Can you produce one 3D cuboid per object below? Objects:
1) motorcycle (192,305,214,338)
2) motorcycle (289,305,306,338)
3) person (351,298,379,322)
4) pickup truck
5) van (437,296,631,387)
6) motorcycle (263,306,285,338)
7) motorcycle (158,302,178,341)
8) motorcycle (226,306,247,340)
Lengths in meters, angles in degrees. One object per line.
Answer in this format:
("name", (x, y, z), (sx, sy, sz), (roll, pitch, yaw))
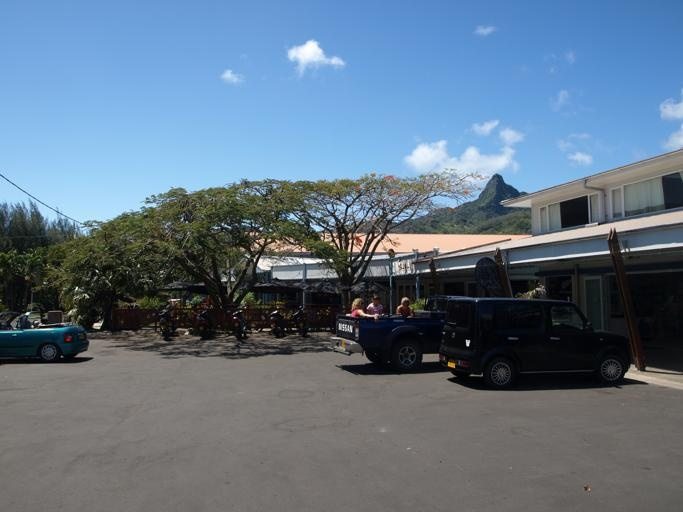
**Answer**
("motorcycle", (-7.512, 3.598, 24.783), (1.012, 1.507, 2.712), (1, -4, -17))
("motorcycle", (-2.464, 3.683, 25.783), (0.968, 1.559, 1.824), (0, -4, -5))
("person", (0.740, 1.664, 14.420), (0.771, 0.710, 0.535), (-2, -1, 0))
("pickup truck", (1.730, 2.396, 14.178), (3.686, 1.520, 1.853), (-1, -2, -20))
("van", (5.075, 2.153, 12.317), (4.369, 1.908, 2.220), (-2, -1, -7))
("motorcycle", (-3.581, 3.669, 25.145), (0.864, 1.457, 1.411), (0, -4, -11))
("motorcycle", (-9.698, 3.730, 25.111), (1.165, 1.360, 2.443), (0, -5, -11))
("motorcycle", (-5.572, 3.578, 24.386), (0.915, 1.517, 3.956), (1, -4, -14))
